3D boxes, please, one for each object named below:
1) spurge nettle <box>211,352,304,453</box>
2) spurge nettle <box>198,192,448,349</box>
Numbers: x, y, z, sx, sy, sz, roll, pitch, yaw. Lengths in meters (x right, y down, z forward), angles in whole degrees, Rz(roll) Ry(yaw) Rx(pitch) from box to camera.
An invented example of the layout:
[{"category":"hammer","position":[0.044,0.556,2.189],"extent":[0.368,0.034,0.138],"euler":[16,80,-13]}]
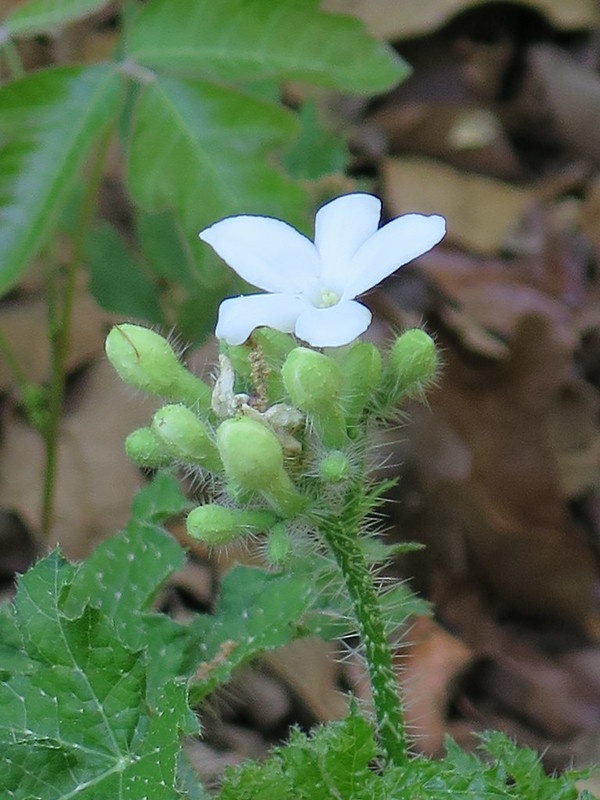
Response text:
[{"category":"spurge nettle","position":[-0.024,0.002,0.823],"extent":[0.029,0.075,0.068],"euler":[-48,23,17]},{"category":"spurge nettle","position":[-0.008,-0.062,0.796],"extent":[0.166,0.184,0.053],"euler":[-4,77,8]}]
